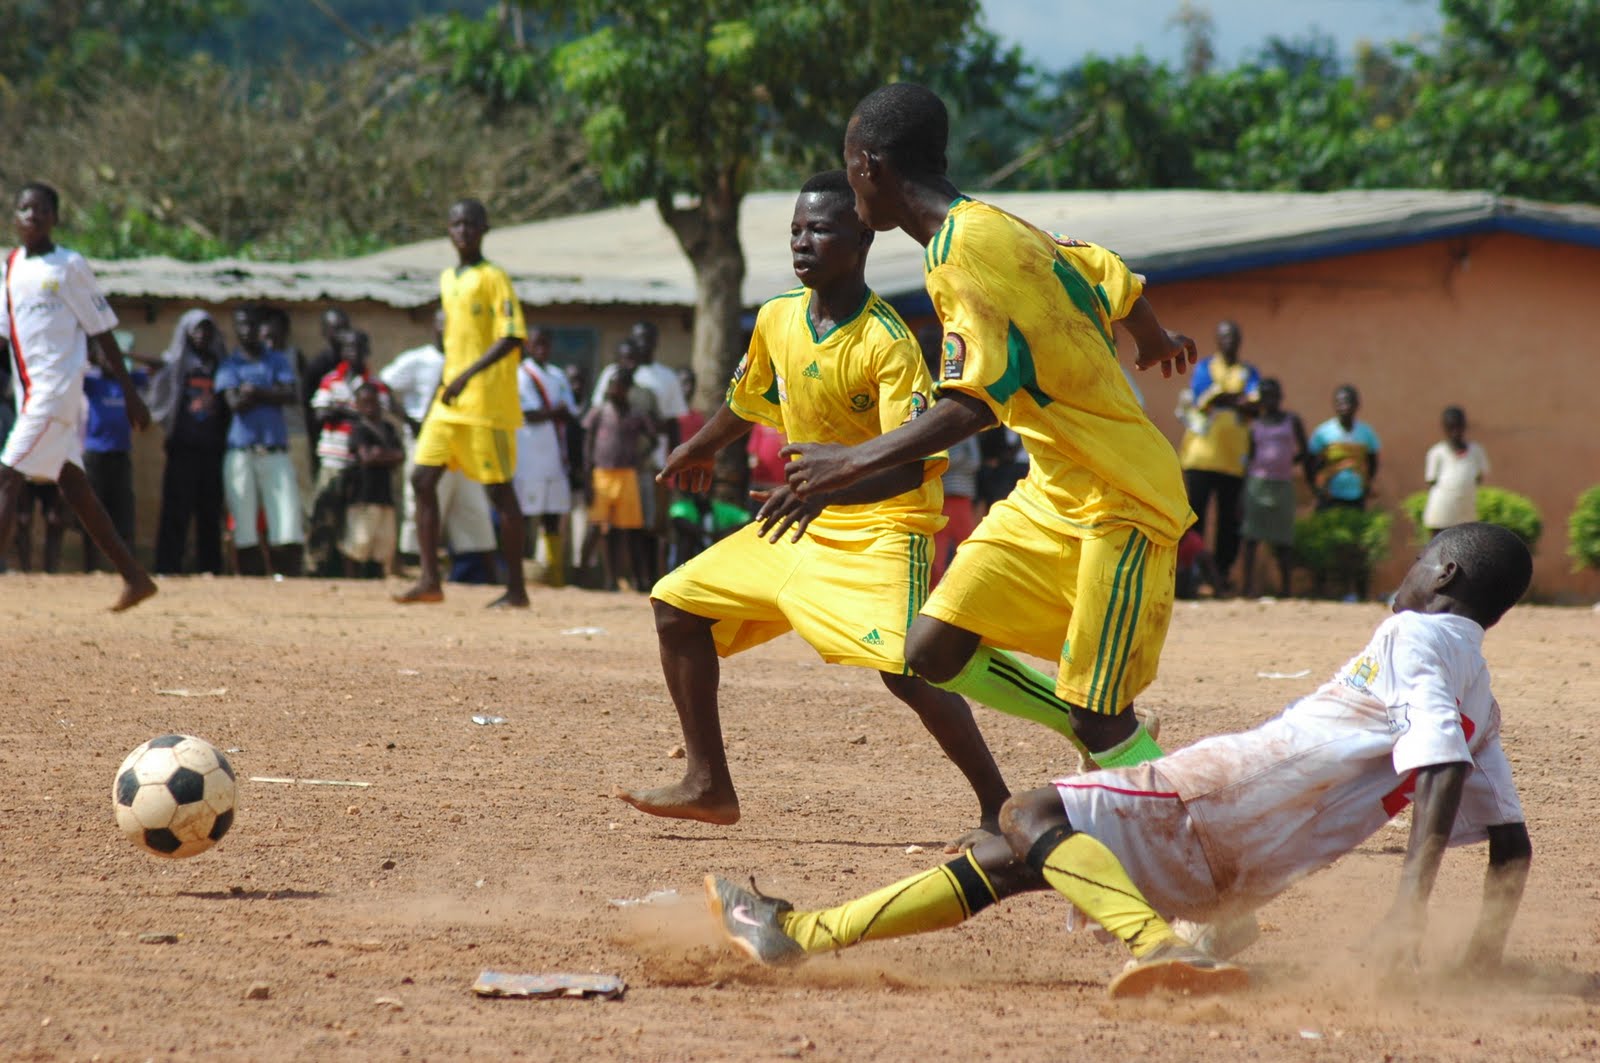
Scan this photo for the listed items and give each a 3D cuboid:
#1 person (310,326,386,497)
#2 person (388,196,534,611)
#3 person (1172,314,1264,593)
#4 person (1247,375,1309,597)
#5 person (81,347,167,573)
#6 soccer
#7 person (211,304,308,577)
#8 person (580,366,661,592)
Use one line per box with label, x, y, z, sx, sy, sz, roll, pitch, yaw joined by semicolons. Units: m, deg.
person;-3.172;-0.860;20.441;0.459;1.189;0.333;1;4;-11
person;-2.183;-0.865;18.905;0.794;2.634;0.782;0;-3;3
person;3.263;-0.688;22.382;0.854;2.831;0.884;1;0;23
person;3.558;-0.391;22.171;0.454;1.708;0.418;1;0;-17
person;-4.757;-0.569;20.168;0.576;1.659;0.541;2;-1;7
soccer;-3.168;1.336;14.804;0.594;0.624;0.253;1;4;-16
person;-3.746;-0.645;20.297;0.490;1.850;0.552;3;4;17
person;-1.398;-0.428;22.514;0.564;1.697;0.518;1;-1;-10
